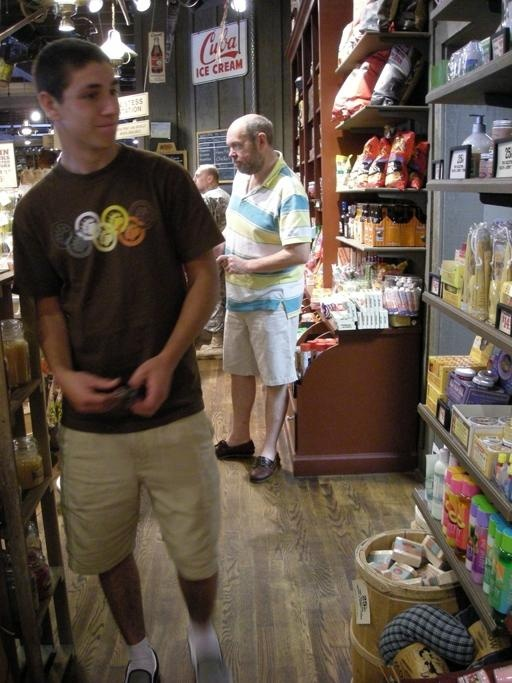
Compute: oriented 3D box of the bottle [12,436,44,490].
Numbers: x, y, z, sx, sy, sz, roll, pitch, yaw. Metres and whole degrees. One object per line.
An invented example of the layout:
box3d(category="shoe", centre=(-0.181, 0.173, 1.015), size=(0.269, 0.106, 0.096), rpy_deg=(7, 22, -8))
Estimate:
box3d(category="bottle", centre=(-0.627, 0.337, 1.355), size=(0.075, 0.122, 0.080), rpy_deg=(0, 15, 0))
